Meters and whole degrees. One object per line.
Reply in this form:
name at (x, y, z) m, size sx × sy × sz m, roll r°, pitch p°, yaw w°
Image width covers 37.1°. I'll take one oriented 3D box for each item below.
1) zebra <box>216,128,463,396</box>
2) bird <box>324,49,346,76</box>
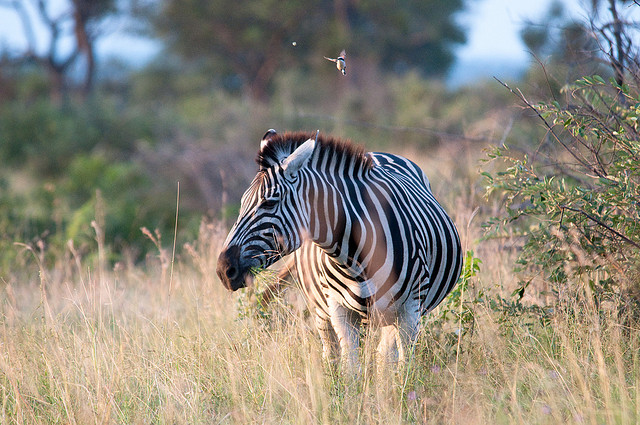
zebra at (0.777, 0.576, 12.825) m, size 2.021 × 3.432 × 4.669 m, roll 0°, pitch 2°, yaw 31°
bird at (0.205, -1.933, 12.051) m, size 0.138 × 0.370 × 0.319 m, roll -5°, pitch 21°, yaw -5°
